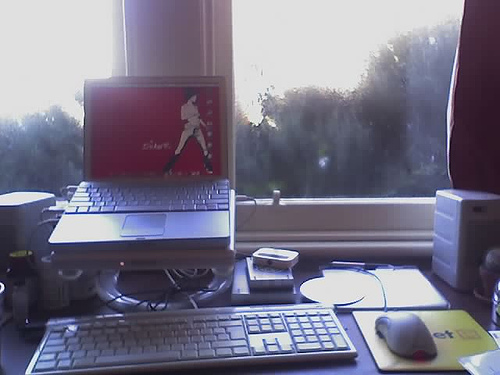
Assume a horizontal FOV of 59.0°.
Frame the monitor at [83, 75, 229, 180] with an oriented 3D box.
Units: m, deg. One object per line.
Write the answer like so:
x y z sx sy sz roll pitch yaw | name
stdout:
-0.248 -0.155 1.174 0.370 0.298 0.017 -2 -14 -9 | monitor

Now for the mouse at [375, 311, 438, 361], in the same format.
0.333 0.306 0.954 0.089 0.081 0.113 0 14 7 | mouse

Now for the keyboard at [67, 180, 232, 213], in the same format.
-0.245 0.013 1.115 0.383 0.059 0.127 -4 16 -4 | keyboard

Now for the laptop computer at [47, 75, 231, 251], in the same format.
-0.257 -0.076 1.088 0.404 0.380 0.281 -3 15 -2 | laptop computer

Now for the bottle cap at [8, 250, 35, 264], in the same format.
-0.571 0.167 1.107 0.036 0.030 0.039 1 -1 6 | bottle cap
